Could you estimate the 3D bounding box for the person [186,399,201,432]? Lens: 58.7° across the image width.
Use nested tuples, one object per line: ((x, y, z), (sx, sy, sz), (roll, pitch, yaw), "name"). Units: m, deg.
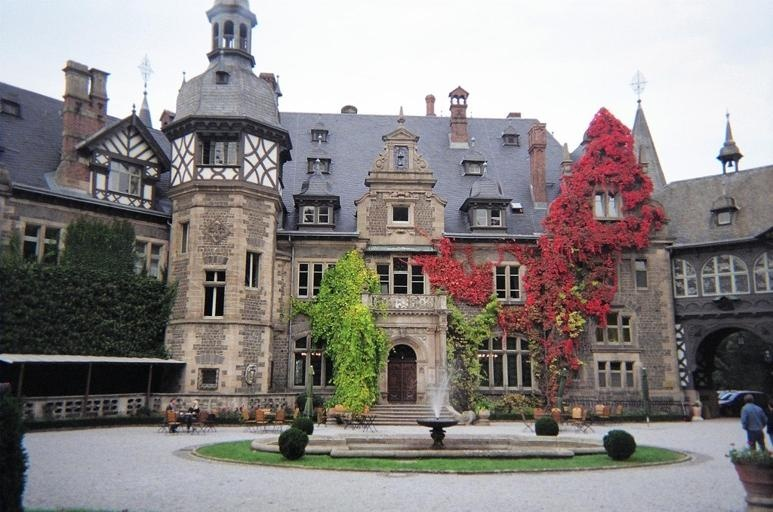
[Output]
((-8.560, 7.103, 30.521), (0.494, 1.219, 1.795), (2, -4, -14), "person")
